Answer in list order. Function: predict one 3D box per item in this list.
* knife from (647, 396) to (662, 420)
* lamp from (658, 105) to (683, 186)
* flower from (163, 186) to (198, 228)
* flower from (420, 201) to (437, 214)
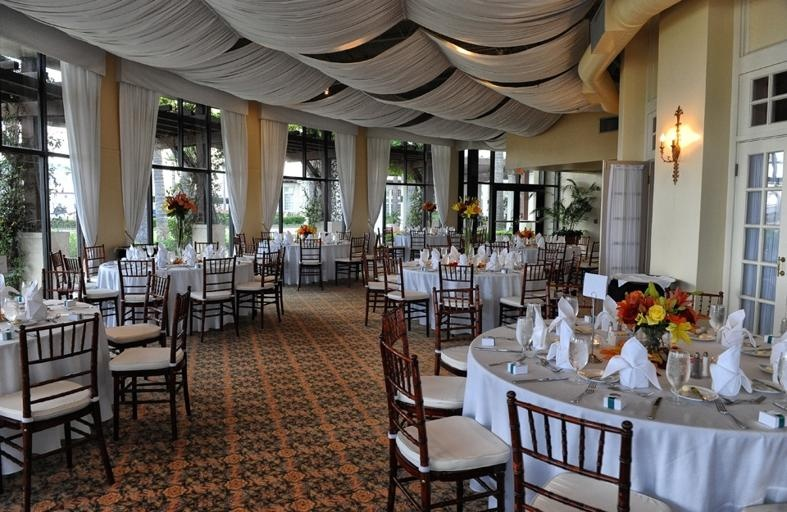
[{"bbox_3d":[1.952,1.128,4.046,0.067,0.022,0.449,-7,12,33],"label":"knife"},{"bbox_3d":[3.895,-1.539,7.609,0.137,1.069,0.432,-2,5,-1],"label":"lamp"},{"bbox_3d":[-3.502,-0.771,8.870,0.445,0.511,0.446,-8,12,-30],"label":"flower"},{"bbox_3d":[1.134,-1.559,17.125,0.417,0.468,0.451,0,1,0],"label":"flower"}]
